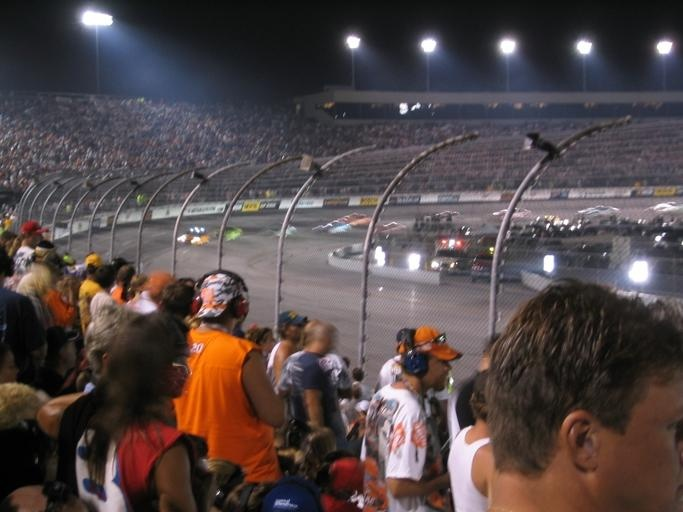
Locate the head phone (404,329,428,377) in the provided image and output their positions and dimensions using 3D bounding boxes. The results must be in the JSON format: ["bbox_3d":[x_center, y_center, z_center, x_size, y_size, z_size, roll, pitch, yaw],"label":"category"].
[{"bbox_3d":[0.401,0.521,3.320,0.135,0.236,0.093,3,-5,40],"label":"head phone"}]

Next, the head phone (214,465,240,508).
[{"bbox_3d":[-0.463,0.946,2.529,0.116,0.123,0.214,7,-5,-10],"label":"head phone"}]

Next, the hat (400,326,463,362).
[{"bbox_3d":[0.516,0.492,3.407,0.301,0.168,0.186,2,2,10],"label":"hat"}]

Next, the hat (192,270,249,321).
[{"bbox_3d":[-0.624,0.202,3.212,0.244,0.209,0.277,0,-9,-16],"label":"hat"}]

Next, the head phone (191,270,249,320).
[{"bbox_3d":[-0.640,0.212,3.266,0.245,0.212,0.277,0,-9,-15],"label":"head phone"}]
